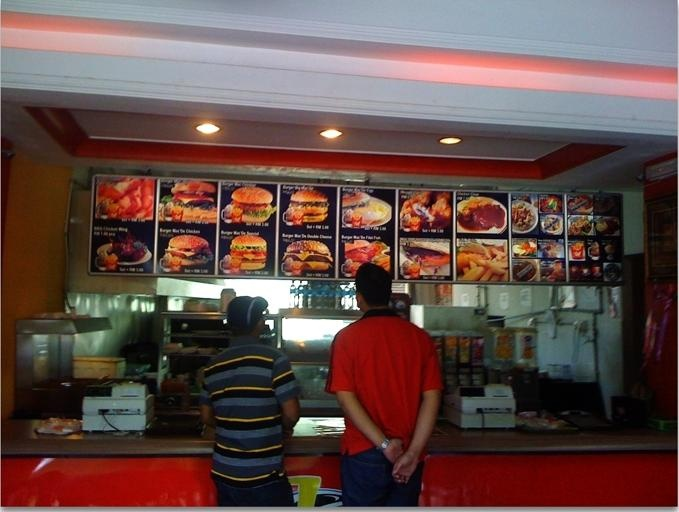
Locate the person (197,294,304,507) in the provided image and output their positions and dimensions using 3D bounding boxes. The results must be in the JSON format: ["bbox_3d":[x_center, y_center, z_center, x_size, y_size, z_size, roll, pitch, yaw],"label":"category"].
[{"bbox_3d":[-0.582,0.932,3.869,0.629,1.335,0.307,-1,-9,-5],"label":"person"}]

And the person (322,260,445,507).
[{"bbox_3d":[0.265,0.766,3.642,0.687,1.451,0.227,-3,-9,6],"label":"person"}]
